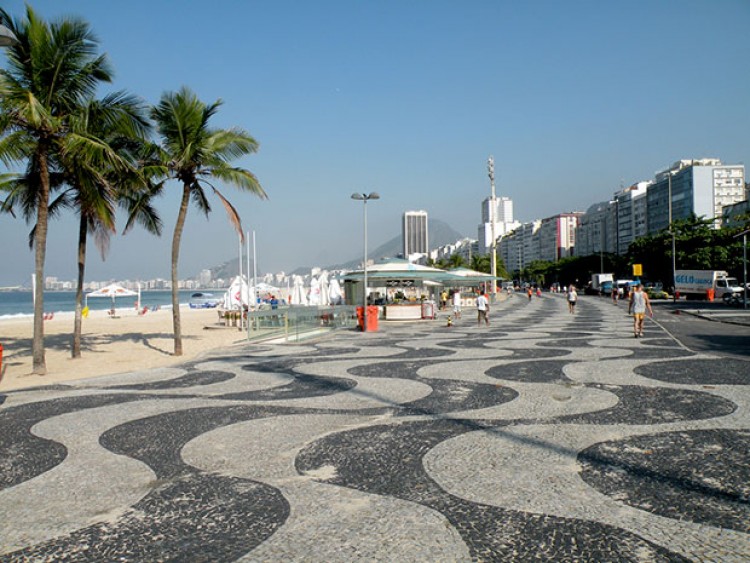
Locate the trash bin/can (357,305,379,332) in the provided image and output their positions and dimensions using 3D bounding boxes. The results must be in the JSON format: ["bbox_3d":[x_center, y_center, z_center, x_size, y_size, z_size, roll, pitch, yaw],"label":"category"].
[{"bbox_3d":[-0.391,1.631,26.527,1.054,1.166,1.000,1,-3,-23],"label":"trash bin/can"}]

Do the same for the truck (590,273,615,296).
[{"bbox_3d":[30.121,0.499,81.371,2.649,2.041,3.856,1,5,5],"label":"truck"}]

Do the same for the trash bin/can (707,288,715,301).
[{"bbox_3d":[28.799,1.169,52.819,0.563,1.019,0.811,-3,0,25],"label":"trash bin/can"}]

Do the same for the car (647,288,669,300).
[{"bbox_3d":[29.162,1.431,63.950,2.151,1.153,2.046,-2,2,-43],"label":"car"}]

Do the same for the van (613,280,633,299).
[{"bbox_3d":[25.869,0.900,64.364,1.705,1.427,2.738,1,9,20],"label":"van"}]

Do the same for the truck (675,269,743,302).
[{"bbox_3d":[29.055,0.458,53.972,3.036,3.418,7.816,0,-2,-23],"label":"truck"}]
